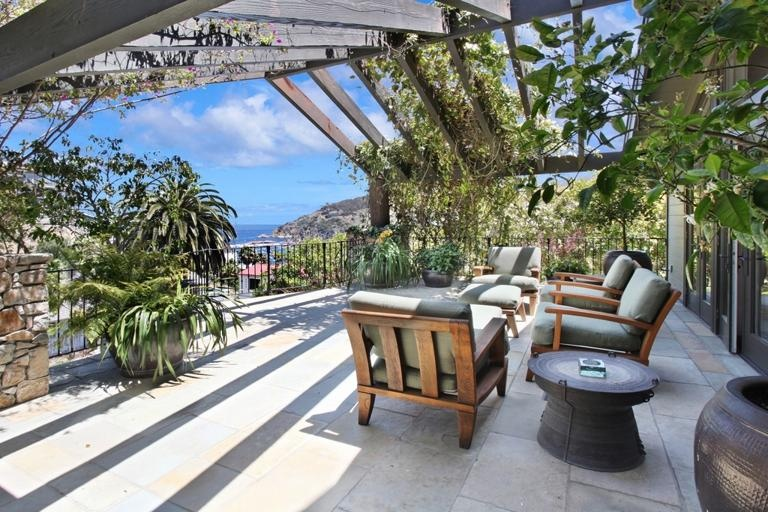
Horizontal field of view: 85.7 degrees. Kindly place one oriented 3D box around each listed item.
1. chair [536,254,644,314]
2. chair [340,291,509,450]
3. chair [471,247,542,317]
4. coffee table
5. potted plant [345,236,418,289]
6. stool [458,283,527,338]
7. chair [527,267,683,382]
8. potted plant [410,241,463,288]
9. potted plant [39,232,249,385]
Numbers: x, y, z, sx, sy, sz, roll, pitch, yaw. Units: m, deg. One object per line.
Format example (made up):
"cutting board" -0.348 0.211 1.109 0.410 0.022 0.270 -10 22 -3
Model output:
"chair" 2.461 0.410 4.947 0.976 0.642 0.952 0 2 19
"chair" 0.478 0.803 3.526 1.090 1.011 1.414 1 6 26
"chair" 2.068 0.329 6.798 1.071 0.888 1.063 2 5 23
"coffee table" 1.489 1.093 3.024 0.867 0.564 0.843 0 5 21
"potted plant" -0.017 0.191 9.052 1.233 0.800 1.185 0 -3 6
"stool" 1.341 0.776 5.454 0.885 0.520 0.897 -3 -4 30
"chair" 1.955 0.536 4.112 1.339 1.067 1.246 3 4 18
"potted plant" 1.086 0.206 8.669 0.983 0.867 0.936 0 -6 -3
"potted plant" -2.464 0.644 4.275 1.527 0.938 1.440 0 -5 -12
